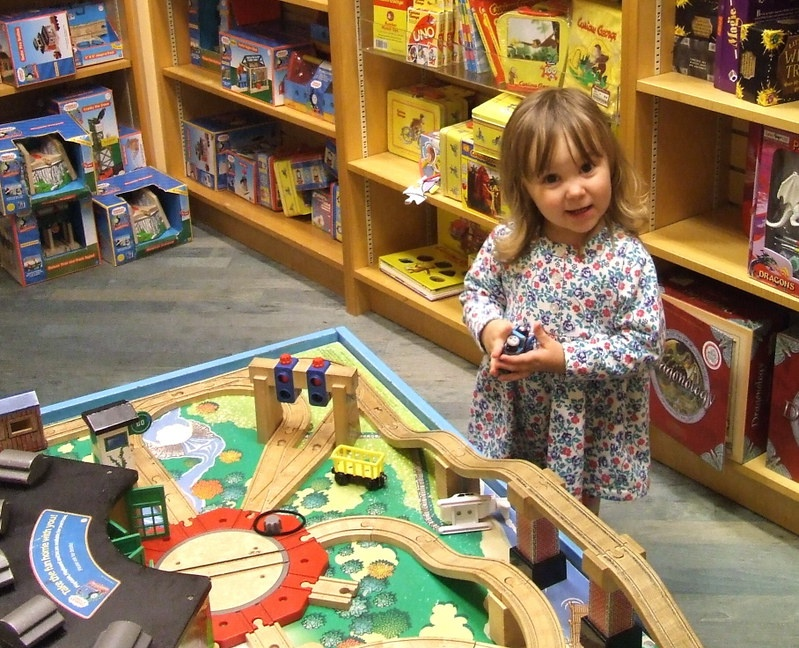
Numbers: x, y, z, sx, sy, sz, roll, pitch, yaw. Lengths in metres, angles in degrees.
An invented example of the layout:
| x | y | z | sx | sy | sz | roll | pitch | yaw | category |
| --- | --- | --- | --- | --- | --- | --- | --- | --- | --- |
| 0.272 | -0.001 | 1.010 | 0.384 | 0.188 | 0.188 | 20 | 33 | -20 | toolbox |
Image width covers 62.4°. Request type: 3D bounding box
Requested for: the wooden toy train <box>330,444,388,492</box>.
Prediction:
| x | y | z | sx | sy | sz | roll | pitch | yaw | category |
| --- | --- | --- | --- | --- | --- | --- | --- | --- | --- |
| -0.089 | 0.316 | 1.446 | 0.125 | 0.070 | 0.074 | 12 | 37 | 19 | wooden toy train |
